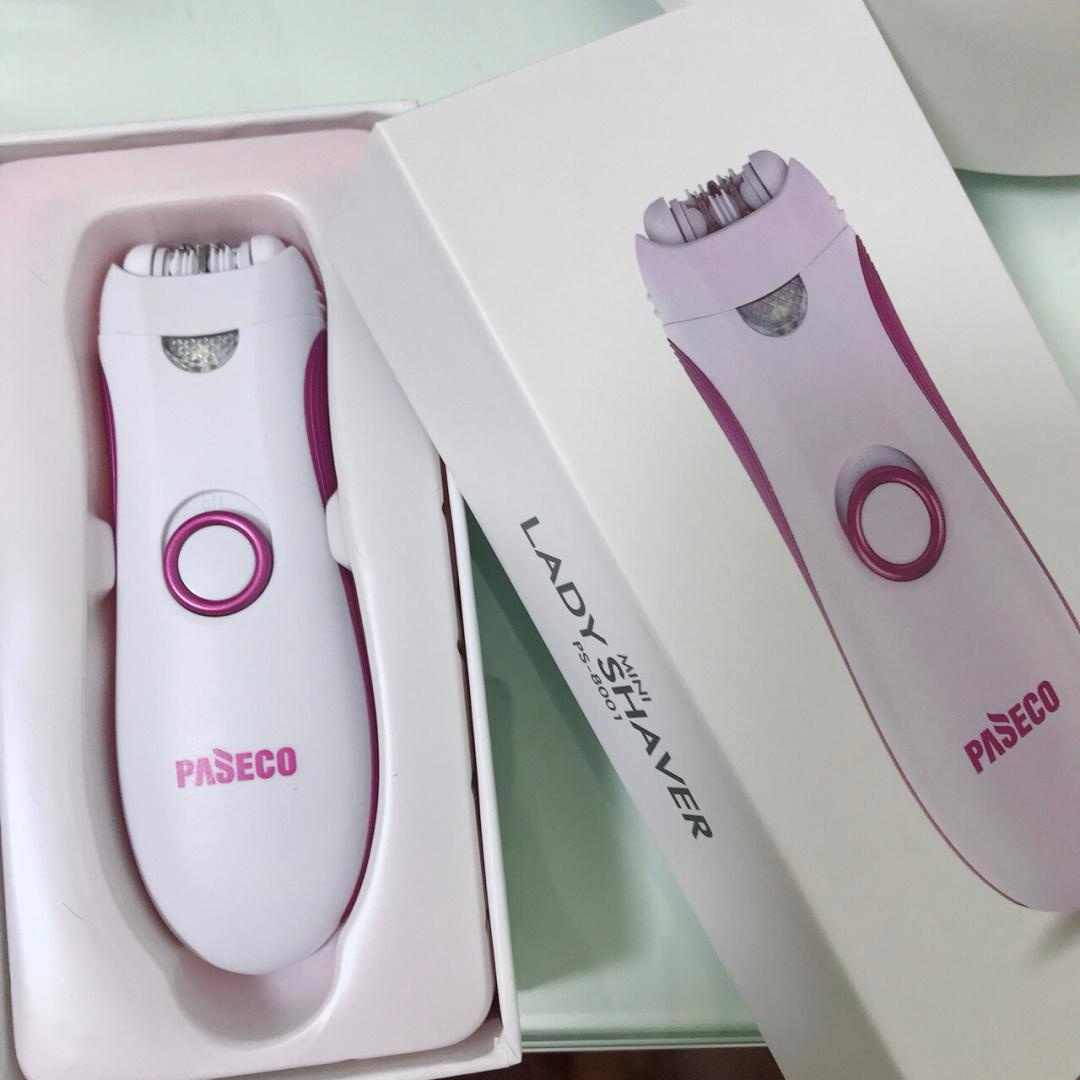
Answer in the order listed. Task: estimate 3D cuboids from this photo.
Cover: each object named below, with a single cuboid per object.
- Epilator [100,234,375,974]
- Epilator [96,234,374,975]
[{"bbox_3d":[-0.142,0.019,0.647,0.099,0.391,0.078,-4,-10,-1],"label":"Epilator"},{"bbox_3d":[-0.144,0.023,0.596,0.100,0.391,0.080,-4,-10,0],"label":"Epilator"}]
